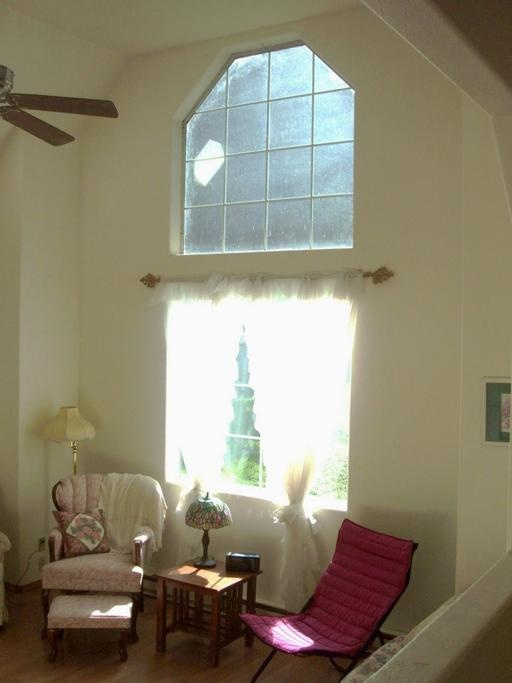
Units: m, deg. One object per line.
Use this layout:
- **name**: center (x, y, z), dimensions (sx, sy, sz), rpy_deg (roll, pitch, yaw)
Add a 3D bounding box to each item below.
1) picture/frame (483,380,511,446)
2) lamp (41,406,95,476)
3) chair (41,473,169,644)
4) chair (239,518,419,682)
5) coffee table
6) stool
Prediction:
- **picture/frame**: center (1.296, 0.383, 3.405), dimensions (0.123, 0.334, 0.107), rpy_deg (0, -1, 17)
- **lamp**: center (-1.590, 0.858, 5.436), dimensions (0.440, 0.608, 0.586), rpy_deg (1, -1, -16)
- **chair**: center (-1.164, 1.449, 4.605), dimensions (0.959, 1.078, 1.020), rpy_deg (0, -13, -2)
- **chair**: center (0.517, 1.426, 4.055), dimensions (1.101, 0.985, 0.763), rpy_deg (-1, 5, -33)
- **coffee table**: center (-0.343, 1.835, 4.390), dimensions (0.605, 0.565, 0.607), rpy_deg (5, 7, 40)
- **stool**: center (-1.082, 1.886, 4.201), dimensions (0.563, 0.342, 0.484), rpy_deg (1, -1, -9)
